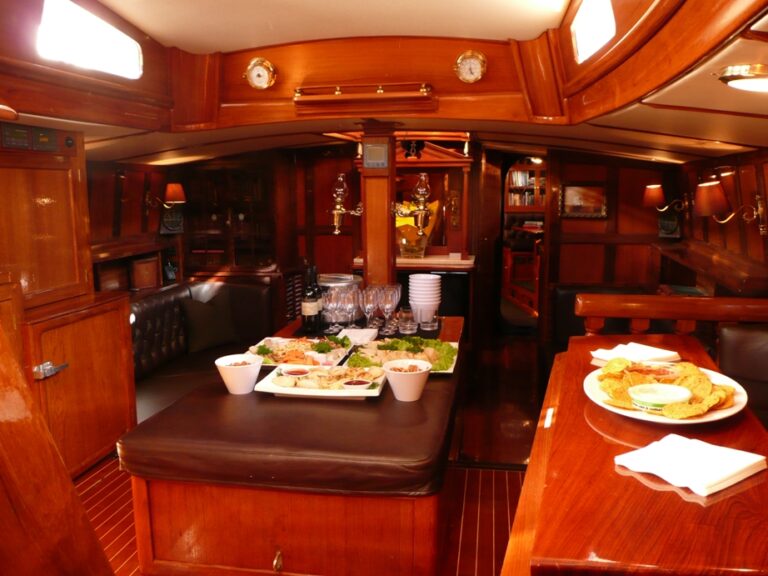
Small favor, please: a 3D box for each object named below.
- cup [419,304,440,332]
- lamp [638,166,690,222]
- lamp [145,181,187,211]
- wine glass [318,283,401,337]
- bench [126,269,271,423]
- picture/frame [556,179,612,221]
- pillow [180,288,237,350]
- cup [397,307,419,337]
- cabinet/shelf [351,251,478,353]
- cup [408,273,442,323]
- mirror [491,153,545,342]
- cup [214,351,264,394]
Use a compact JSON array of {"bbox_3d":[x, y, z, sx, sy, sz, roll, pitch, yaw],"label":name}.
[{"bbox_3d":[0.275,0.177,3.380,0.141,0.140,0.133,0,5,0],"label":"cup"},{"bbox_3d":[2.998,-0.990,5.963,0.582,0.652,0.465,0,5,0],"label":"lamp"},{"bbox_3d":[-2.367,-1.013,6.241,0.401,0.237,0.254,-2,14,-6],"label":"lamp"},{"bbox_3d":[-0.124,0.104,3.251,0.395,0.152,0.253,-1,6,-4],"label":"wine glass"},{"bbox_3d":[-1.263,0.374,3.858,0.318,0.406,0.941,-2,13,7],"label":"bench"},{"bbox_3d":[2.292,-1.029,6.474,0.508,0.333,0.053,0,8,5],"label":"picture/frame"},{"bbox_3d":[-1.499,0.269,4.792,0.157,0.400,0.459,-14,1,42],"label":"pillow"},{"bbox_3d":[0.116,0.196,3.199,0.131,0.131,0.136,-1,1,0],"label":"cup"},{"bbox_3d":[0.473,-0.054,6.829,1.672,1.423,0.955,0,1,8],"label":"cabinet/shelf"},{"bbox_3d":[0.236,0.049,3.401,0.280,0.290,0.257,0,0,0],"label":"cup"},{"bbox_3d":[2.292,-0.989,9.472,0.975,2.324,4.403,-7,10,17],"label":"mirror"},{"bbox_3d":[-0.573,0.321,2.280,0.170,0.099,0.166,-2,4,0],"label":"cup"}]
